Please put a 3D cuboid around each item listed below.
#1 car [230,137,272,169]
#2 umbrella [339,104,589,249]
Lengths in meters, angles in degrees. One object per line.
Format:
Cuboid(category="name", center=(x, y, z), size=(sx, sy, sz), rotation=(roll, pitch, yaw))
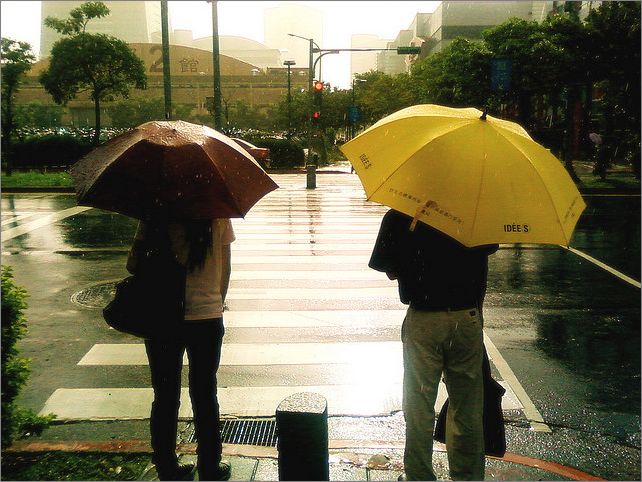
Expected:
Cuboid(category="car", center=(-3.279, -4.306, 30.358), size=(2.342, 1.540, 5.030), rotation=(0, 13, -4))
Cuboid(category="umbrella", center=(1.046, -0.465, 4.991), size=(1.686, 0.904, 0.600), rotation=(3, 10, 5))
